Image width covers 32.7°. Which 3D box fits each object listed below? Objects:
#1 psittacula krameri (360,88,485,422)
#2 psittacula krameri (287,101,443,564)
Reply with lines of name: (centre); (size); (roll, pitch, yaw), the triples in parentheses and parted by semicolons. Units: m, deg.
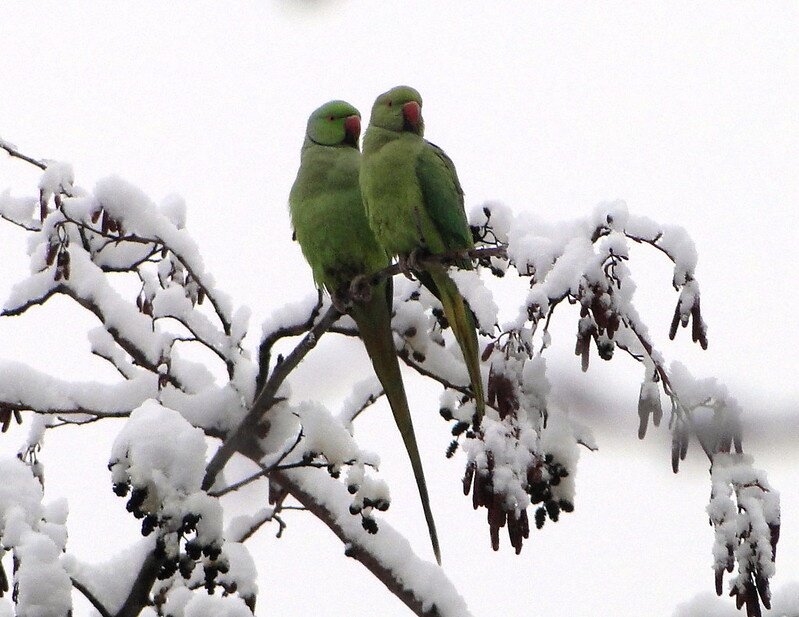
psittacula krameri: (0.111, -0.298, 6.429); (0.721, 1.517, 0.621); (15, -45, -7)
psittacula krameri: (-0.239, -0.267, 6.773); (0.515, 0.761, 2.936); (-9, -82, -3)
